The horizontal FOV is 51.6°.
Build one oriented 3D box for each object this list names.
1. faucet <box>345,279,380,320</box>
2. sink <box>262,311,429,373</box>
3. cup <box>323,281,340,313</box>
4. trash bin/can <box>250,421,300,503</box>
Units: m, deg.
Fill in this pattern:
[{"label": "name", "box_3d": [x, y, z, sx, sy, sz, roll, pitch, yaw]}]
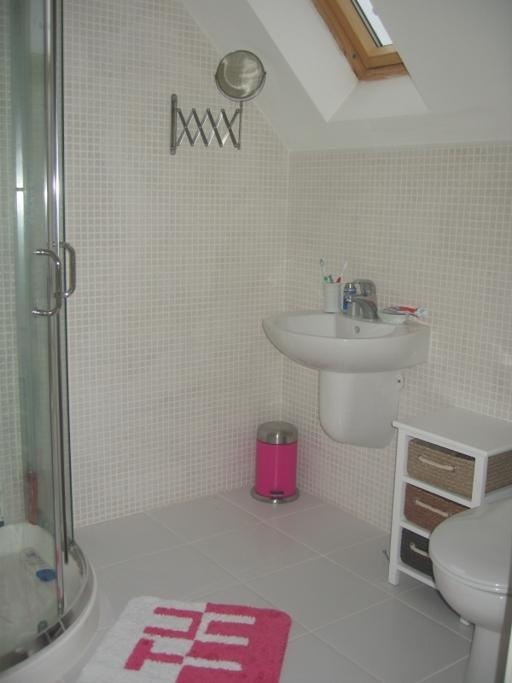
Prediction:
[{"label": "faucet", "box_3d": [0.419, -0.170, 2.112, 0.168, 0.192, 0.113, -1, 2, -40]}, {"label": "sink", "box_3d": [0.306, 0.000, 1.983, 0.548, 0.204, 0.561, 0, 4, -36]}, {"label": "cup", "box_3d": [0.320, -0.180, 2.229, 0.073, 0.130, 0.119, 2, 3, 6]}, {"label": "trash bin/can", "box_3d": [0.101, 0.565, 2.565, 0.227, 0.352, 0.242, 6, 13, 20]}]
